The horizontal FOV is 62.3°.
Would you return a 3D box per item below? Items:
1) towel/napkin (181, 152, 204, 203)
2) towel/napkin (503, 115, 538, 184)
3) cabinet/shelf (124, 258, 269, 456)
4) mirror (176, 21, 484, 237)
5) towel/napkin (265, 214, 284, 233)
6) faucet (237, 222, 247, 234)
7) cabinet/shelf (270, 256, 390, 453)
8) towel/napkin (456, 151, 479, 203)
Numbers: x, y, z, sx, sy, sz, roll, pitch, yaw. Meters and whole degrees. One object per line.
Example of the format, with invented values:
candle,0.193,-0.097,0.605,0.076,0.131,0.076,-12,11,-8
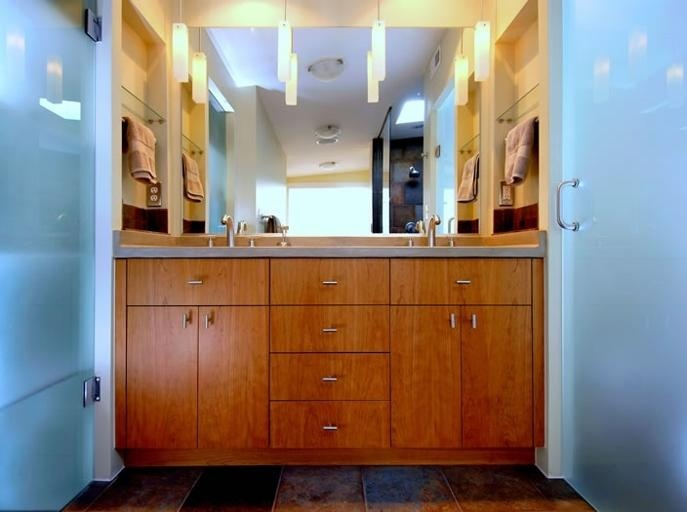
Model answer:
towel/napkin,-0.903,-0.479,3.429,0.065,0.256,0.180,-3,-1,28
towel/napkin,0.948,-0.567,3.073,0.079,0.300,0.279,3,7,-12
cabinet/shelf,-0.738,0.390,3.026,0.757,1.092,0.638,4,18,-1
mirror,-0.095,-0.775,3.455,1.140,1.327,0.010,0,11,0
towel/napkin,-0.422,-0.189,3.461,0.118,0.175,0.091,1,-12,-8
faucet,-0.594,-0.159,3.378,0.040,0.083,0.076,2,7,-1
cabinet/shelf,-0.065,0.382,3.006,0.567,1.119,0.464,0,24,-2
towel/napkin,0.764,-0.476,3.446,0.071,0.254,0.177,2,-1,-31
